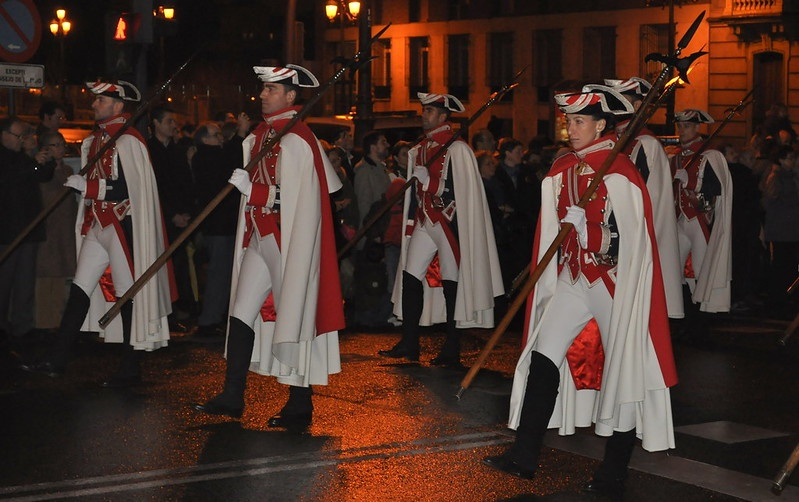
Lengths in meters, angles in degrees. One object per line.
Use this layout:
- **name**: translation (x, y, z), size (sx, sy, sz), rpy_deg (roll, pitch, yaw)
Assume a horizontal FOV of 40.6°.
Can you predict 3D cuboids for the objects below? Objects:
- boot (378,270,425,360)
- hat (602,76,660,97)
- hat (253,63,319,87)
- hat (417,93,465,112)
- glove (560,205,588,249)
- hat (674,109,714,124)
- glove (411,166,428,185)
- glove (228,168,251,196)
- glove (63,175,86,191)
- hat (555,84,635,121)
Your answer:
- **boot**: translation (0.056, 0.806, 13.658), size (0.738, 1.212, 0.344), rpy_deg (-8, -12, 38)
- **hat**: translation (2.702, -1.865, 12.365), size (0.704, 0.198, 0.625), rpy_deg (1, 8, -42)
- **hat**: translation (-1.179, -1.806, 11.193), size (0.495, 0.142, 0.317), rpy_deg (0, 11, -18)
- **hat**: translation (0.541, -1.859, 13.637), size (0.438, 0.116, 0.302), rpy_deg (4, 18, -47)
- **glove**: translation (1.650, -0.223, 9.857), size (0.135, 0.333, 0.379), rpy_deg (-21, 20, -22)
- **hat**: translation (4.124, -1.850, 14.618), size (0.499, 0.139, 0.361), rpy_deg (3, 1, -26)
- **glove**: translation (0.288, -0.919, 13.188), size (0.189, 0.225, 0.088), rpy_deg (-17, 15, 34)
- **glove**: translation (-1.635, -0.690, 11.046), size (0.226, 0.286, 0.314), rpy_deg (3, 7, -7)
- **glove**: translation (-3.596, -0.737, 11.909), size (0.217, 0.199, 0.300), rpy_deg (2, 8, -17)
- **hat**: translation (1.832, -1.389, 10.130), size (0.730, 0.218, 0.688), rpy_deg (2, 6, -8)
